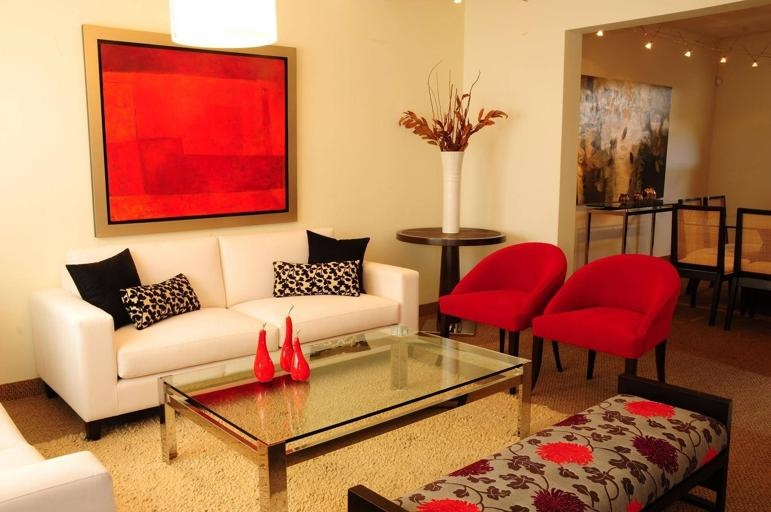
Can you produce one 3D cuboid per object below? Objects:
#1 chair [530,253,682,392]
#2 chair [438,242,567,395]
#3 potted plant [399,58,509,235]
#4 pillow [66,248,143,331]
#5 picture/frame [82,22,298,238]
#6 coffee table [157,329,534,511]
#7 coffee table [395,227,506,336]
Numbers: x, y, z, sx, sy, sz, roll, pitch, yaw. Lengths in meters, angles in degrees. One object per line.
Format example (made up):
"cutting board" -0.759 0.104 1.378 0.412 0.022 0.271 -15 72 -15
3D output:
"chair" 1.676 0.398 4.348 1.081 1.249 1.106 7 9 43
"chair" 1.012 0.408 4.648 1.072 1.150 0.987 -8 13 -42
"potted plant" 0.730 -1.127 5.614 1.154 1.627 0.964 -12 18 -33
"pillow" -1.988 0.251 3.799 0.248 0.437 0.484 6 16 31
"picture/frame" -1.673 -1.025 4.420 1.953 1.606 0.080 -6 10 -39
"coffee table" -0.335 0.742 3.129 1.475 0.457 1.002 -6 10 -40
"coffee table" 0.615 0.262 5.551 1.091 1.029 1.046 9 15 32
